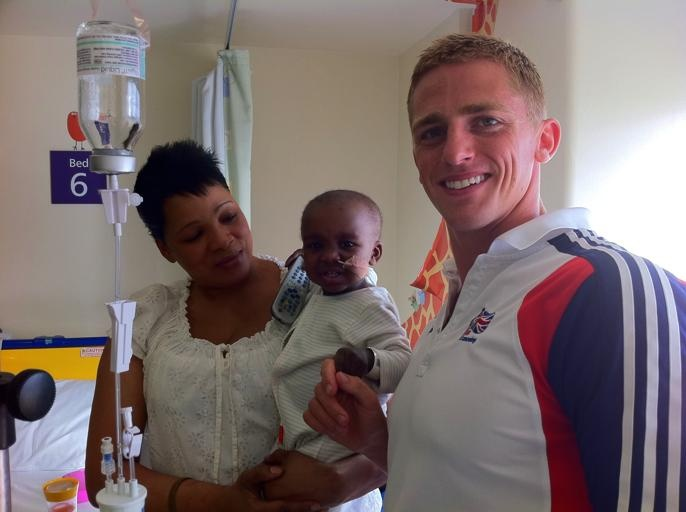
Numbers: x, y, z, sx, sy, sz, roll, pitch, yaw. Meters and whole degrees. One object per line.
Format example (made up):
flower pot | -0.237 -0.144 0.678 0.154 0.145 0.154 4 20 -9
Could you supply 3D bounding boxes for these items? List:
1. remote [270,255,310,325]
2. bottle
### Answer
remote | -0.139 0.100 1.592 0.030 0.077 0.234 -40 22 39
bottle | -0.473 -0.329 1.239 0.145 0.321 0.212 -2 6 -22
